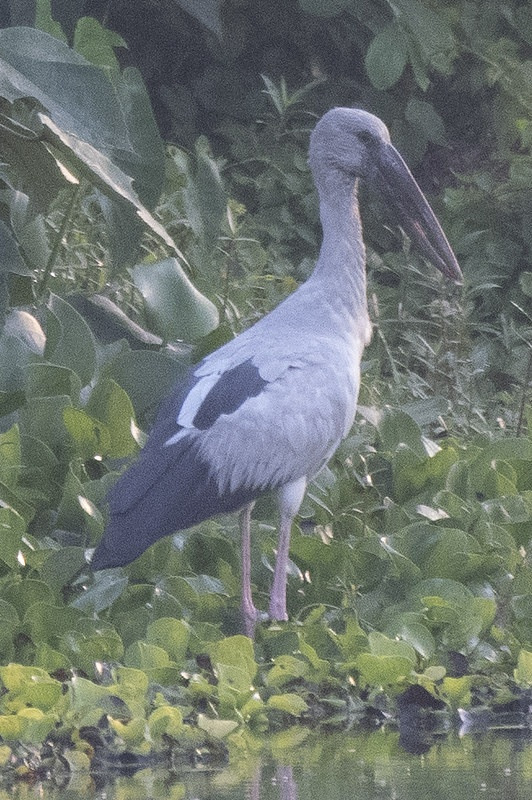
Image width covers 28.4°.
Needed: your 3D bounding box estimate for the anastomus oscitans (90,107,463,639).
[{"bbox_3d":[0.077,-0.147,2.385,0.343,1.285,0.739,-9,-22,37],"label":"anastomus oscitans"}]
